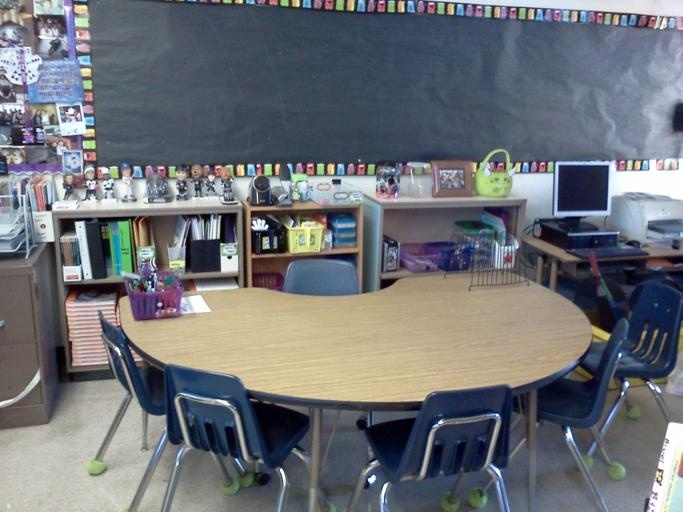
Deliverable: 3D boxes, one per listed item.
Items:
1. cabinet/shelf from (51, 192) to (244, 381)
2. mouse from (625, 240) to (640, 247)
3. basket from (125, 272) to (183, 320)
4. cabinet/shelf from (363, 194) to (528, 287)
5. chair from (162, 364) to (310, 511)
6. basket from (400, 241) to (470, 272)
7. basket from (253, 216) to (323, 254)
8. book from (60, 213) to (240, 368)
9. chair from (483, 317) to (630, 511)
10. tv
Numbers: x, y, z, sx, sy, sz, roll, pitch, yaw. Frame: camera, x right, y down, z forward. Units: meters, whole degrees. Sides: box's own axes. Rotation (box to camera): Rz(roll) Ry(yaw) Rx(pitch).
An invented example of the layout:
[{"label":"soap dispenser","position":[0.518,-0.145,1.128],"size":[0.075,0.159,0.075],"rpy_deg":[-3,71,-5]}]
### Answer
[{"label":"cabinet/shelf","position":[-1.169,0.168,3.286],"size":[1.058,1.070,0.355],"rpy_deg":[-5,13,-20]},{"label":"mouse","position":[2.238,-0.091,4.323],"size":[0.091,0.053,0.063],"rpy_deg":[1,-4,-20]},{"label":"basket","position":[-0.899,0.201,2.704],"size":[0.195,0.120,0.264],"rpy_deg":[-2,17,-12]},{"label":"cabinet/shelf","position":[0.724,-0.115,4.066],"size":[0.603,0.605,0.202],"rpy_deg":[-5,17,-16]},{"label":"chair","position":[-0.470,0.818,2.531],"size":[0.474,0.654,0.477],"rpy_deg":[12,34,13]},{"label":"basket","position":[0.677,0.003,4.299],"size":[0.278,0.092,0.287],"rpy_deg":[-6,16,-25]},{"label":"basket","position":[-0.371,-0.143,3.884],"size":[0.257,0.148,0.397],"rpy_deg":[-2,13,-15]},{"label":"book","position":[-1.140,0.193,3.249],"size":[0.878,0.874,0.263],"rpy_deg":[-5,12,-19]},{"label":"chair","position":[1.061,0.803,2.795],"size":[0.683,0.961,0.613],"rpy_deg":[3,22,15]},{"label":"tv","position":[1.824,-0.469,4.268],"size":[0.502,0.543,0.170],"rpy_deg":[0,3,-12]}]
